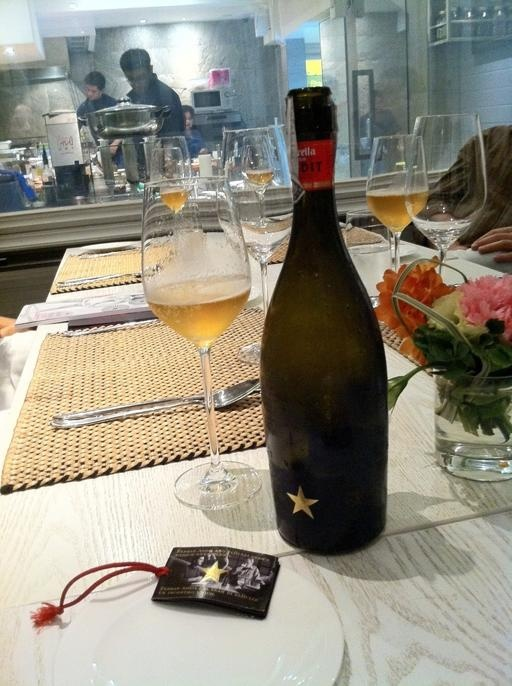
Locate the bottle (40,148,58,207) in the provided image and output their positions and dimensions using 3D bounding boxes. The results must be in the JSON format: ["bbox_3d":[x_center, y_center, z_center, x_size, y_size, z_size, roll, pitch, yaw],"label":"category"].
[{"bbox_3d":[-1.029,-0.826,2.525,0.078,0.287,0.024,2,14,14],"label":"bottle"}]

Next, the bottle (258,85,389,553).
[{"bbox_3d":[0.043,0.005,0.306,0.082,0.277,0.073,-1,13,0],"label":"bottle"}]

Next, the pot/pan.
[{"bbox_3d":[-0.656,-1.127,2.595,0.470,0.200,0.168,-5,14,-17],"label":"pot/pan"}]

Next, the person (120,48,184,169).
[{"bbox_3d":[-0.556,-1.414,3.046,0.454,0.748,0.422,-1,19,-12],"label":"person"}]

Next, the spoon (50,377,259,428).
[{"bbox_3d":[-0.112,0.070,0.589,0.237,0.026,0.040,-6,13,-11],"label":"spoon"}]
